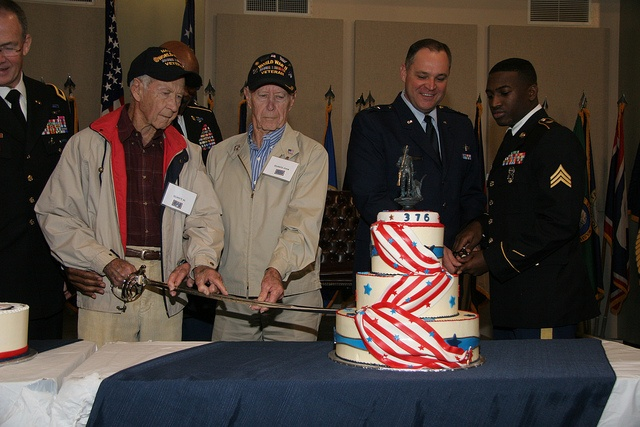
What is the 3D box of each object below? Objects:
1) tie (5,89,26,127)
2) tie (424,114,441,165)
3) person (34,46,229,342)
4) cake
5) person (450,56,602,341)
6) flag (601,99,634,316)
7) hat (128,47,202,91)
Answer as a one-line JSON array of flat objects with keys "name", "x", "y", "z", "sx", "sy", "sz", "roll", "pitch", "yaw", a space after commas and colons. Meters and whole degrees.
[{"name": "tie", "x": -2.065, "y": -0.721, "z": 4.022, "sx": 0.142, "sy": 0.216, "sz": 0.049, "roll": -18, "pitch": 10, "yaw": -24}, {"name": "tie", "x": 0.763, "y": -0.545, "z": 4.112, "sx": 0.058, "sy": 0.456, "sz": 0.053, "roll": -7, "pitch": -30, "yaw": -2}, {"name": "person", "x": -1.160, "y": -0.112, "z": 3.673, "sx": 1.101, "sy": 1.857, "sz": 0.679, "roll": -1, "pitch": 8, "yaw": -11}, {"name": "cake", "x": 0.472, "y": 0.350, "z": 3.024, "sx": 0.667, "sy": 0.673, "sz": 0.716, "roll": 1, "pitch": 2, "yaw": 21}, {"name": "person", "x": 1.462, "y": -0.072, "z": 3.987, "sx": 0.805, "sy": 1.978, "sz": 0.767, "roll": 4, "pitch": 8, "yaw": 26}, {"name": "flag", "x": 3.614, "y": -0.029, "z": 7.197, "sx": 0.305, "sy": 2.749, "sz": 0.756, "roll": 4, "pitch": 8, "yaw": 25}, {"name": "hat", "x": -1.007, "y": -0.940, "z": 3.847, "sx": 0.393, "sy": 0.248, "sz": 0.300, "roll": -3, "pitch": 5, "yaw": 16}]
